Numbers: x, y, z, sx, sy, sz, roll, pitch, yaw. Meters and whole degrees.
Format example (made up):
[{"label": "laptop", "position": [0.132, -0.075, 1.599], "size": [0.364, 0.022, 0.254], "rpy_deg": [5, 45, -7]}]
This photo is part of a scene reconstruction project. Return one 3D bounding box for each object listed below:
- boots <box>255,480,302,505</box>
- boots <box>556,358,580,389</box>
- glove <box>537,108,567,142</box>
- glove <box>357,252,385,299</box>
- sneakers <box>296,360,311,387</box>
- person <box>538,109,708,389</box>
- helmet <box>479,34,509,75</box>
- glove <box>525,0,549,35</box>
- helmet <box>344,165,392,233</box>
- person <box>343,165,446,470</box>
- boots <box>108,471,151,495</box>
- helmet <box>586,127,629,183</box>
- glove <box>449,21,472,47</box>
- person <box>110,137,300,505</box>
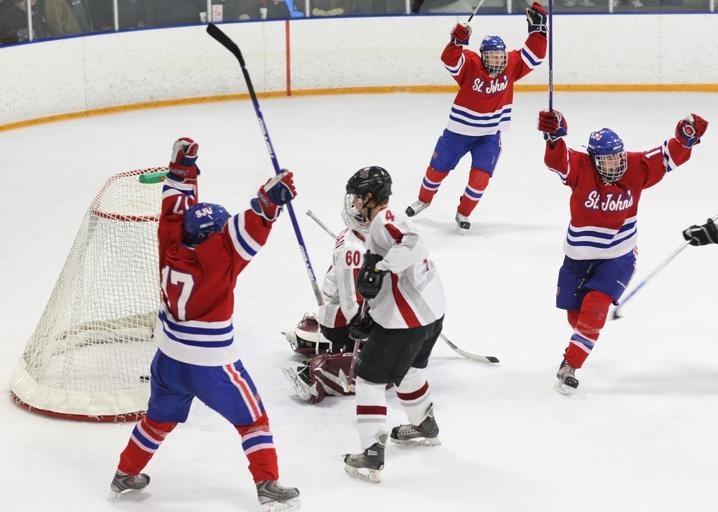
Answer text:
[{"label": "boots", "position": [-0.410, 1.206, 4.301], "size": [0.204, 0.126, 0.110], "rpy_deg": [-6, 7, -2]}, {"label": "boots", "position": [1.306, 0.744, 5.312], "size": [0.133, 0.174, 0.129], "rpy_deg": [5, 21, 16]}, {"label": "glove", "position": [1.248, -0.846, 5.483], "size": [0.178, 0.215, 0.103], "rpy_deg": [-3, 12, 22]}, {"label": "glove", "position": [0.072, 0.102, 4.529], "size": [0.138, 0.226, 0.101], "rpy_deg": [6, -8, 9]}, {"label": "sneakers", "position": [-0.341, 0.725, 5.281], "size": [0.094, 0.043, 0.112], "rpy_deg": [-10, 51, -21]}, {"label": "person", "position": [1.504, -0.098, 5.534], "size": [1.172, 1.613, 0.641], "rpy_deg": [-19, 27, -39]}, {"label": "helmet", "position": [1.224, -1.831, 7.637], "size": [0.252, 0.304, 0.317], "rpy_deg": [-10, 45, -7]}, {"label": "glove", "position": [1.584, -2.095, 7.524], "size": [0.166, 0.280, 0.427], "rpy_deg": [3, 20, 10]}, {"label": "helmet", "position": [0.072, -0.331, 4.785], "size": [0.358, 0.403, 0.323], "rpy_deg": [3, 16, 12]}, {"label": "person", "position": [0.195, 0.342, 4.630], "size": [0.542, 1.564, 0.777], "rpy_deg": [0, 21, 5]}, {"label": "boots", "position": [-1.200, 1.191, 4.454], "size": [0.221, 0.100, 0.095], "rpy_deg": [-5, 44, -24]}, {"label": "helmet", "position": [1.573, -0.636, 5.378], "size": [0.252, 0.317, 0.206], "rpy_deg": [4, 21, 14]}, {"label": "glove", "position": [0.897, -2.022, 7.755], "size": [0.213, 0.220, 0.222], "rpy_deg": [8, 13, 21]}, {"label": "person", "position": [-0.784, 0.321, 4.488], "size": [0.978, 1.736, 1.045], "rpy_deg": [0, 21, 3]}]
